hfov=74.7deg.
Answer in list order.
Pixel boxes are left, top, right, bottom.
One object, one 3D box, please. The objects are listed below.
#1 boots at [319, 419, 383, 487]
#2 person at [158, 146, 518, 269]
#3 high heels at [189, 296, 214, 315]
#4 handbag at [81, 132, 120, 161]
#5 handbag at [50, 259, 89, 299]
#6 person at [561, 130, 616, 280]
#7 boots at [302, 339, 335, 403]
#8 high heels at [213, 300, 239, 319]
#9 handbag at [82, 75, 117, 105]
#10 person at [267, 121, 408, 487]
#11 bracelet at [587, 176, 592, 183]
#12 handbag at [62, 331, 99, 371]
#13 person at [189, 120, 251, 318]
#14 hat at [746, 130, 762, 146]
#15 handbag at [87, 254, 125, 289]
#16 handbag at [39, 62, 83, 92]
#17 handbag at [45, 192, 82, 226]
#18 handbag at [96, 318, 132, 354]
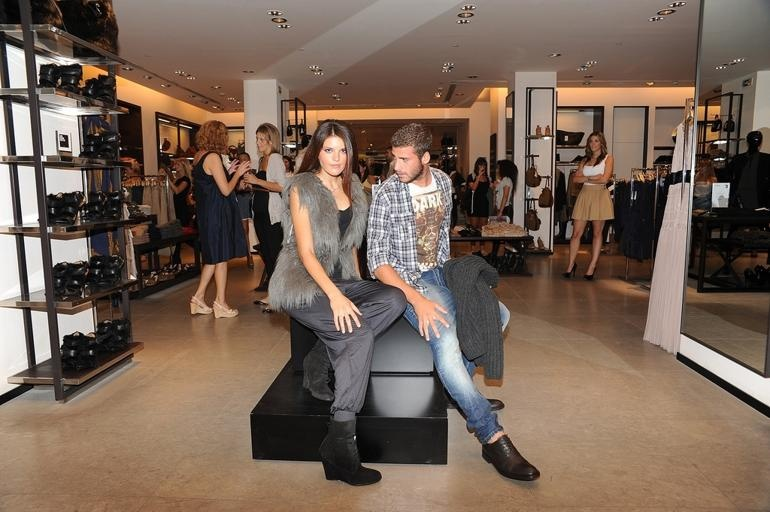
[{"bbox_3d":[-0.183,1.123,2.928,0.372,0.353,0.192,-1,-3,17],"label":"boots"},{"bbox_3d":[-0.637,-0.511,5.611,2.357,0.542,1.492,1,22,2],"label":"person"},{"bbox_3d":[-2.148,0.577,5.867,0.315,0.217,0.143,-4,8,-37],"label":"high heels"},{"bbox_3d":[-2.312,-0.881,4.198,0.240,0.252,0.278,-2,-4,42],"label":"handbag"},{"bbox_3d":[-2.419,0.185,3.885,0.220,0.306,0.093,-2,-28,-10],"label":"handbag"},{"bbox_3d":[3.040,-0.722,7.461,0.591,2.146,0.610,9,18,32],"label":"person"},{"bbox_3d":[-0.430,0.745,3.276,0.126,0.345,0.222,-28,-27,35],"label":"boots"},{"bbox_3d":[-1.805,0.606,5.768,0.280,0.184,0.143,-3,3,-19],"label":"high heels"},{"bbox_3d":[-2.333,-1.375,4.151,0.228,0.140,0.313,-4,24,-23],"label":"handbag"},{"bbox_3d":[-0.284,0.244,3.028,0.755,2.045,0.839,-5,16,-16],"label":"person"},{"bbox_3d":[2.935,-1.105,7.257,0.102,0.093,0.025,1,-7,23],"label":"bracelet"},{"bbox_3d":[-2.384,0.750,3.967,0.195,0.135,0.310,5,22,-36],"label":"handbag"},{"bbox_3d":[-1.850,-0.382,5.607,0.746,2.174,0.500,-7,16,-22],"label":"person"},{"bbox_3d":[2.722,-0.866,3.720,0.048,0.118,0.138,0,15,4],"label":"hat"},{"bbox_3d":[-2.290,0.123,4.134,0.205,0.282,0.084,0,-15,-22],"label":"handbag"},{"bbox_3d":[-2.457,-1.355,3.841,0.221,0.148,0.349,1,7,-26],"label":"handbag"},{"bbox_3d":[-2.406,-0.365,3.793,0.210,0.087,0.266,-1,47,-14],"label":"handbag"},{"bbox_3d":[-2.307,0.673,4.303,0.195,0.128,0.304,6,22,-11],"label":"handbag"}]
